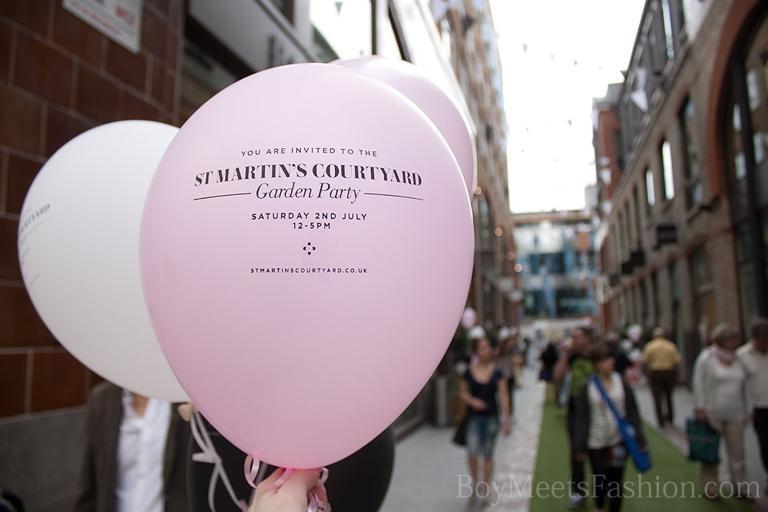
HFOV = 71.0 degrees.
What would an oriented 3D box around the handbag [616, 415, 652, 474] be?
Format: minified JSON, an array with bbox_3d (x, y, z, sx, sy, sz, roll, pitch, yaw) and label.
[{"bbox_3d":[1.926,1.455,4.135,0.213,0.362,0.177,-6,-4,28],"label":"handbag"}]

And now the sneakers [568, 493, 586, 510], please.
[{"bbox_3d":[1.578,1.997,4.451,0.134,0.153,0.082,15,4,-45],"label":"sneakers"}]
